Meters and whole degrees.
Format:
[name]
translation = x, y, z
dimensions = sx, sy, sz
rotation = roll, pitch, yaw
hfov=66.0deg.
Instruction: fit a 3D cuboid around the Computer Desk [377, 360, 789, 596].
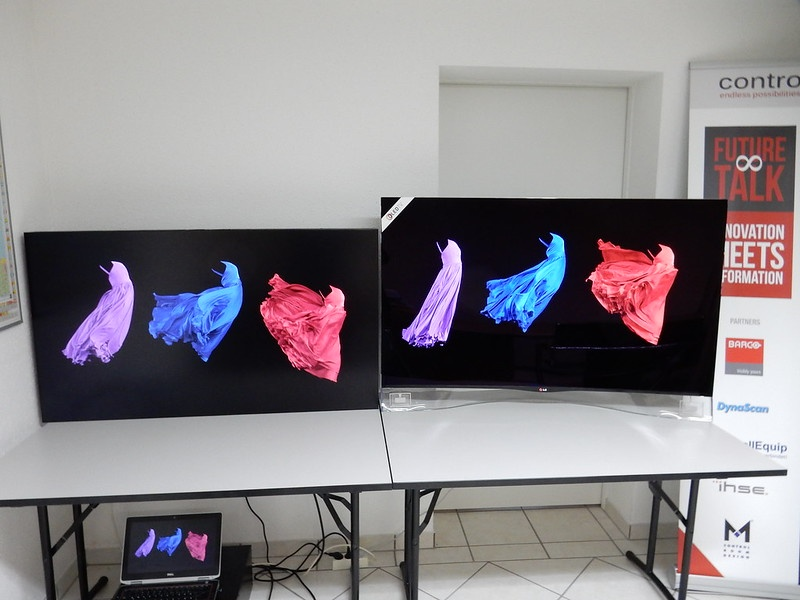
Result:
[Computer Desk]
translation = 0.687, 0.642, 2.810
dimensions = 1.815, 0.952, 1.027
rotation = -1, 27, -3
